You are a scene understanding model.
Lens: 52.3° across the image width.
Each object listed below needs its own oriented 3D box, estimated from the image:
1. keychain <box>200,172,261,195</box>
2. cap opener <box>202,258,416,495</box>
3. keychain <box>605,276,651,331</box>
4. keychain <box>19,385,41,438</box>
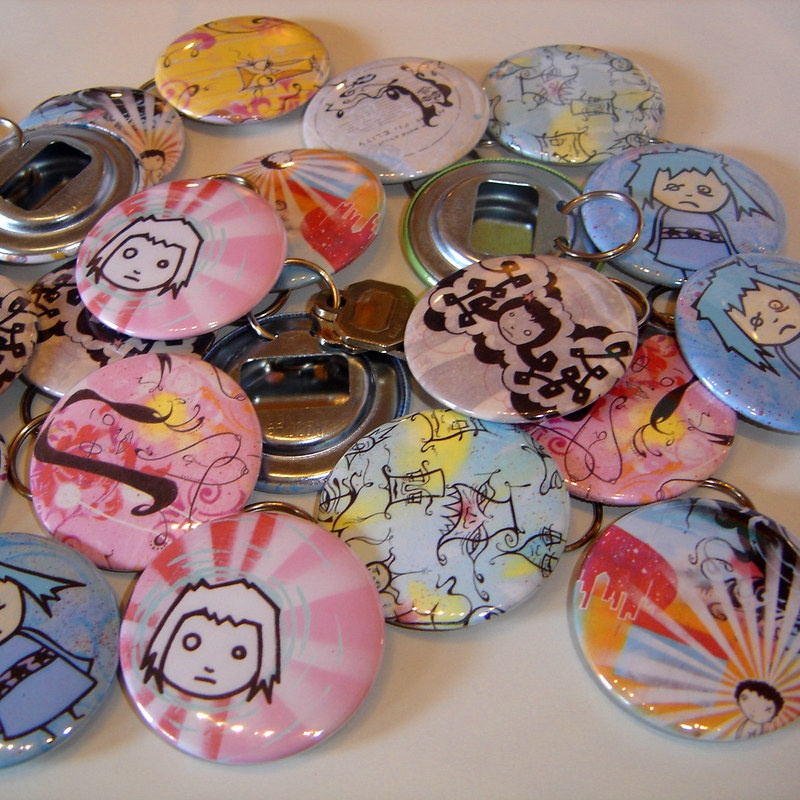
[{"bbox_3d":[-0.309,-0.409,1.513,0.077,0.015,0.061,1,44,-6],"label":"keychain"},{"bbox_3d":[-0.129,-0.048,1.362,0.427,0.081,0.376,-7,54,-1],"label":"cap opener"},{"bbox_3d":[0.395,-0.157,1.366,0.052,0.055,0.105,-7,40,-12],"label":"keychain"},{"bbox_3d":[-0.631,0.006,1.386,0.016,0.062,0.069,20,12,-39],"label":"keychain"}]
